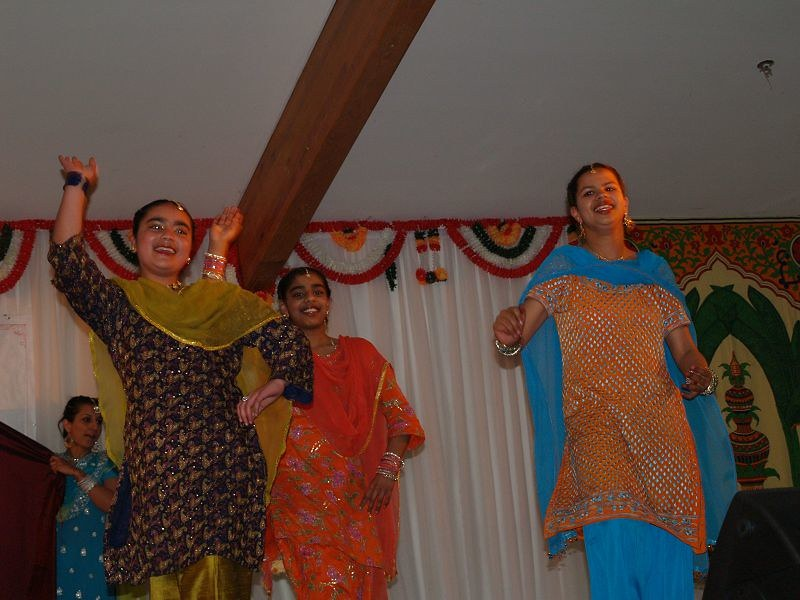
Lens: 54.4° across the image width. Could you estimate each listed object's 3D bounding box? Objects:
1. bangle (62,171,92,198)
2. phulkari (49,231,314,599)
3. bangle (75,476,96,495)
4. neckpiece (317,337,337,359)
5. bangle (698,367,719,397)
[{"bbox_3d":[-1.276,-0.449,3.076,0.094,0.083,0.099,-1,3,10],"label":"bangle"},{"bbox_3d":[-0.833,0.385,2.923,0.817,1.361,0.435,2,-19,-22],"label":"phulkari"},{"bbox_3d":[-1.790,1.053,4.430,0.092,0.099,0.105,1,-62,-14],"label":"bangle"},{"bbox_3d":[-0.398,0.269,4.311,0.076,0.111,0.041,-1,-52,11],"label":"neckpiece"},{"bbox_3d":[1.350,0.363,3.407,0.078,0.116,0.346,-9,-19,20],"label":"bangle"}]
